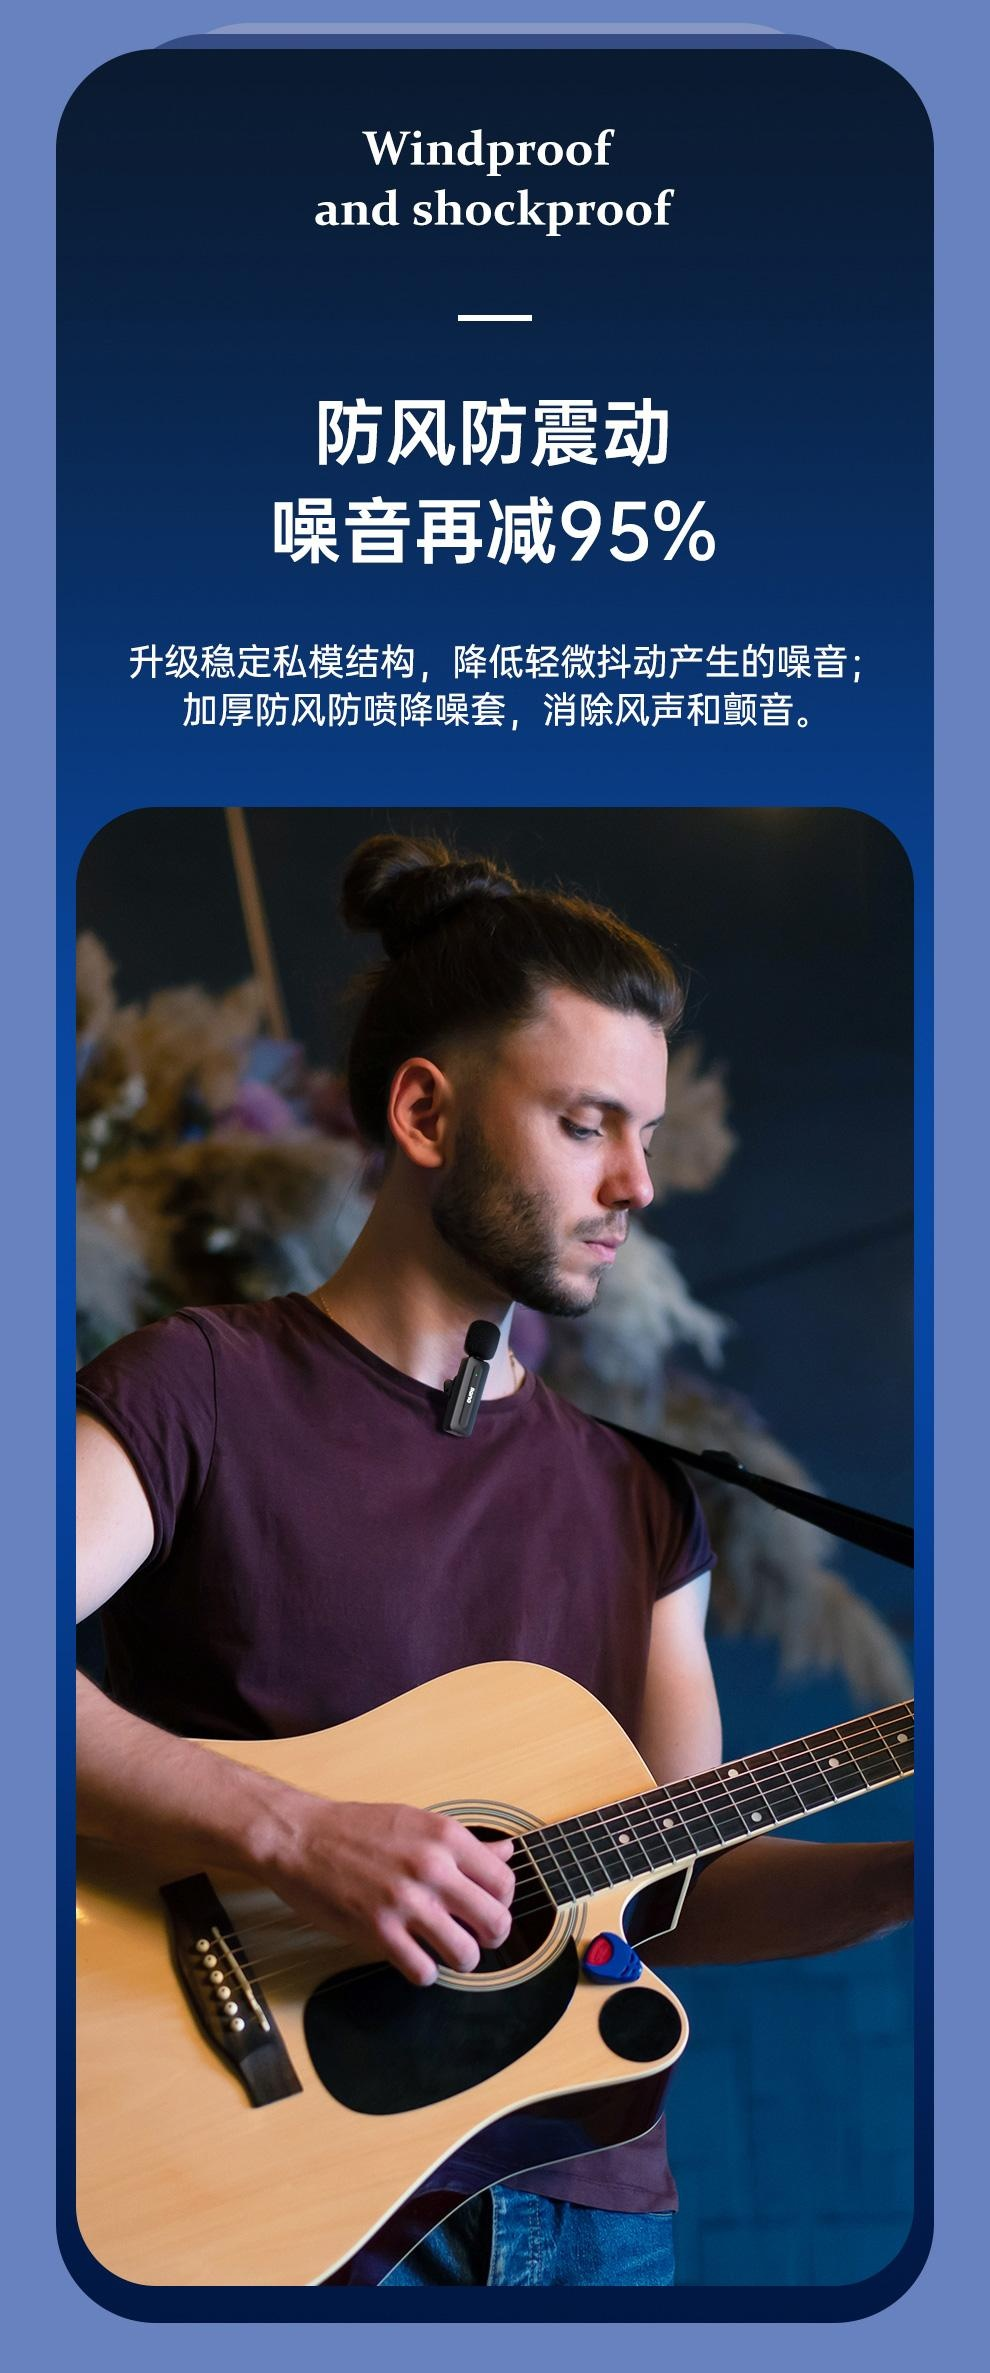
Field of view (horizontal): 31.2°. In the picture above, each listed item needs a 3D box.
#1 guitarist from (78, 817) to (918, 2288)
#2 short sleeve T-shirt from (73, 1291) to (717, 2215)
[{"bbox_3d":[0.009,0.324,1.730,0.657,1.547,0.737,-7,20,-35],"label":"guitarist"},{"bbox_3d":[-0.056,0.311,1.970,0.770,0.833,0.682,16,23,41],"label":"short sleeve T-shirt"}]
